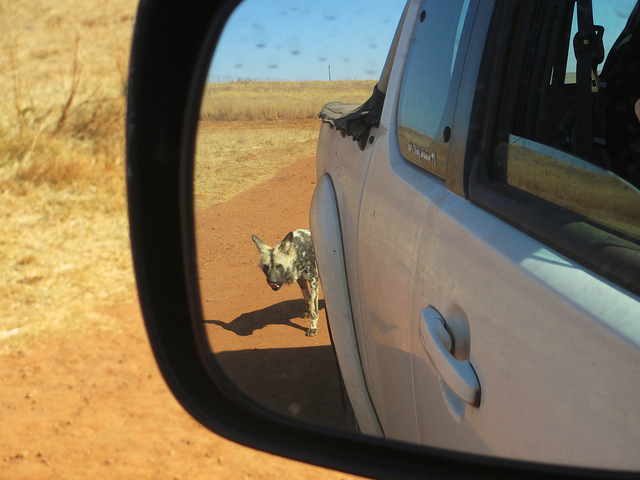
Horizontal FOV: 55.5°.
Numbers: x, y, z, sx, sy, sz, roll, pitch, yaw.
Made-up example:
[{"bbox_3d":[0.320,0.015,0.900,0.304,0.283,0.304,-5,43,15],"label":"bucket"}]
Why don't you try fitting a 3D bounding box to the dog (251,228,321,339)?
[{"bbox_3d":[-0.237,0.383,5.774,0.527,0.763,1.082,-13,7,-12],"label":"dog"}]
